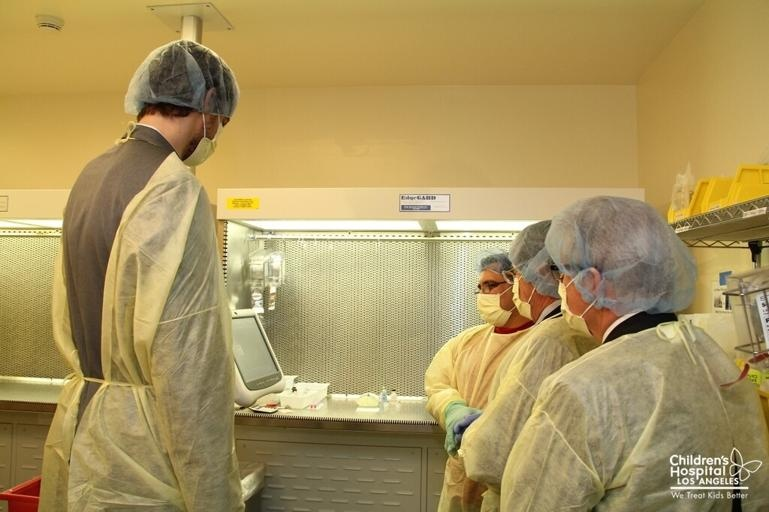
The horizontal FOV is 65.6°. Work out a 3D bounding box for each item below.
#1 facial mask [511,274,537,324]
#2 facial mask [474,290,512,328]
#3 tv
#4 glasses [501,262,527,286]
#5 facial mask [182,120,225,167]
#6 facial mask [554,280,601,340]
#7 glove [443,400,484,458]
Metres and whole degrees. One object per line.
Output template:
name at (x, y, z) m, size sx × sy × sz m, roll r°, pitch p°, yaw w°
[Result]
facial mask at (0.634, 0.199, 2.732) m, size 0.073 × 0.166 × 0.156 m, roll 21°, pitch 5°, yaw 16°
facial mask at (0.539, 0.264, 3.016) m, size 0.167 × 0.135 × 0.150 m, roll -12°, pitch 1°, yaw 3°
tv at (-0.725, 0.541, 3.293) m, size 0.164 × 0.498 × 0.365 m, roll 3°, pitch 0°, yaw 9°
glasses at (0.635, 0.086, 2.996) m, size 0.089 × 0.094 × 0.055 m, roll 7°, pitch 18°, yaw 16°
facial mask at (-0.713, -0.434, 2.353) m, size 0.116 × 0.169 × 0.121 m, roll 5°, pitch 9°, yaw 0°
facial mask at (0.717, 0.181, 2.212) m, size 0.138 × 0.208 × 0.134 m, roll 9°, pitch 9°, yaw 21°
glove at (0.337, 0.767, 2.755) m, size 0.190 × 0.119 × 0.264 m, roll 31°, pitch -24°, yaw 31°
